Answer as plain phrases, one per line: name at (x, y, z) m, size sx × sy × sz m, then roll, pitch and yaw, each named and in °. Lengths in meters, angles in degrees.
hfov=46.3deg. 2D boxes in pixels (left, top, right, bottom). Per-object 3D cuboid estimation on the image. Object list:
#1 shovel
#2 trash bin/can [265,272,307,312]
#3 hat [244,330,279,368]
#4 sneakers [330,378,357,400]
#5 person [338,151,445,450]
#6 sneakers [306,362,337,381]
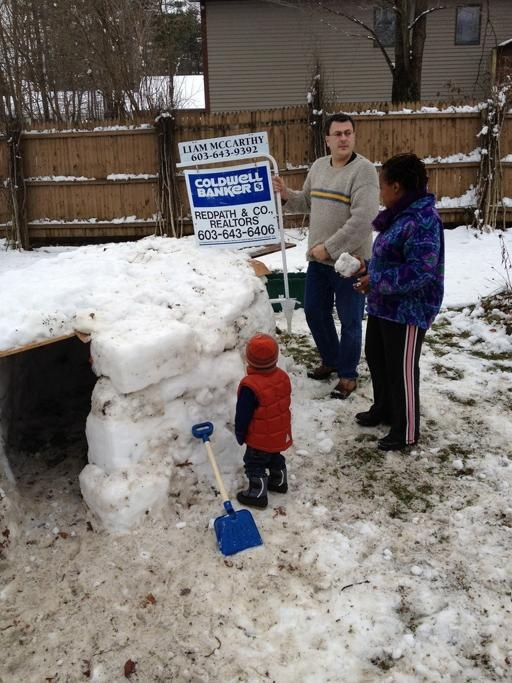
shovel at (-0.171, 0.725, 2.982) m, size 0.234 × 0.055 × 0.710 m, roll -5°, pitch 41°, yaw -19°
trash bin/can at (0.308, -0.584, 6.474) m, size 0.686 × 0.487 × 0.374 m, roll 0°, pitch 8°, yaw -2°
hat at (0.033, 0.055, 2.955) m, size 0.159 × 0.171 × 0.124 m, roll -8°, pitch 20°, yaw -12°
sneakers at (0.626, 0.350, 4.294) m, size 0.087 × 0.097 × 0.247 m, roll -1°, pitch 1°, yaw 35°
person at (0.807, -0.186, 3.439) m, size 0.501 × 1.689 × 0.423 m, roll 1°, pitch 21°, yaw 15°
sneakers at (0.495, 0.246, 4.643) m, size 0.109 × 0.082 × 0.216 m, roll 1°, pitch 1°, yaw 35°
